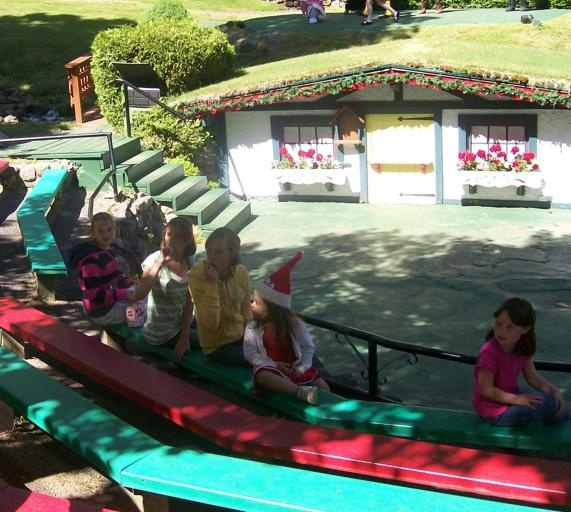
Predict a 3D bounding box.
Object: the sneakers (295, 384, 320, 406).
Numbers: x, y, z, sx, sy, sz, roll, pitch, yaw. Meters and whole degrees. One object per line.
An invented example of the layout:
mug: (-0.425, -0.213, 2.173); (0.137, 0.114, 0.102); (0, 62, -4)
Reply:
sneakers: (0.173, 1.074, 3.925); (0.181, 0.063, 0.109); (23, 19, 36)

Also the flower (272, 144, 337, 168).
flower: (0.619, -2.996, 15.455); (1.419, 0.316, 0.885); (2, 25, 8)

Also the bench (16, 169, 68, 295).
bench: (-3.886, -0.365, 8.121); (0.839, 0.544, 2.853); (-6, 34, -13)
